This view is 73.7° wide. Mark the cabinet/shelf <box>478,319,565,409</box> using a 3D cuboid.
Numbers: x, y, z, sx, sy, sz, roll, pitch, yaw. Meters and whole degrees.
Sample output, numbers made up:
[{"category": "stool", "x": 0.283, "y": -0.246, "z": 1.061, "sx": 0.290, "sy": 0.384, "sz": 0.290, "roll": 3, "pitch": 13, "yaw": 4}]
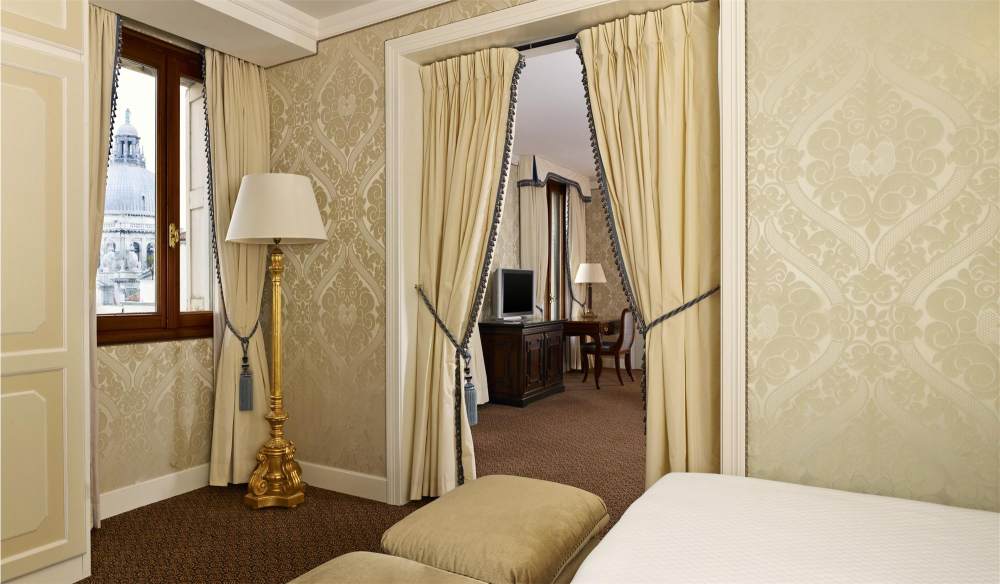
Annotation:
[{"category": "cabinet/shelf", "x": 0.209, "y": 0.687, "z": 8.133, "sx": 0.803, "sy": 1.107, "sz": 1.478, "roll": -1, "pitch": 1, "yaw": 25}]

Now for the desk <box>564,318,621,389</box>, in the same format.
[{"category": "desk", "x": 1.208, "y": 0.721, "z": 9.195, "sx": 0.778, "sy": 0.896, "sz": 1.039, "roll": -2, "pitch": -1, "yaw": 22}]
